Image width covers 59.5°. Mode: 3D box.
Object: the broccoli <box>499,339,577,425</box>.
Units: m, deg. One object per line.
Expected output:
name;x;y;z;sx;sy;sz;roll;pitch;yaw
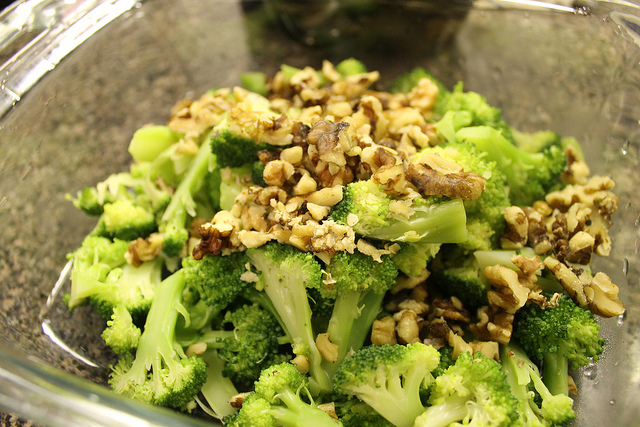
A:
broccoli;0.747;0.621;2.002;0.192;0.121;0.290;-2;61;-27

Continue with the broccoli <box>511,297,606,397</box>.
broccoli;0.853;0.437;2.018;0.323;0.334;0.376;8;79;30

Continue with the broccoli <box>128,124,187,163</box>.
broccoli;-0.684;-0.304;2.371;0.193;0.271;0.054;17;78;-17

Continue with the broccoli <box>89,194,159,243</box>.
broccoli;-0.770;0.022;2.208;0.202;0.084;0.180;-15;65;-8

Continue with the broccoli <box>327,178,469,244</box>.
broccoli;0.295;0.000;1.991;0.383;0.127;0.244;3;65;0

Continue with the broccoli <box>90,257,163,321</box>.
broccoli;-0.752;0.269;2.168;0.280;0.337;0.131;-32;105;-9

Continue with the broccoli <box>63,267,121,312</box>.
broccoli;-0.883;0.310;2.154;0.175;0.179;0.154;41;99;32

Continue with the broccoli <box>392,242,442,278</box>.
broccoli;0.351;0.173;1.985;0.129;0.046;0.135;-7;100;2

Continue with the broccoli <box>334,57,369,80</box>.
broccoli;0.151;-0.700;2.746;0.130;0.078;0.135;4;64;-5

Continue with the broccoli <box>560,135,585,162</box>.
broccoli;1.079;-0.286;2.407;0.062;0.041;0.128;-1;60;-21

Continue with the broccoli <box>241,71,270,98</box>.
broccoli;-0.302;-0.582;2.675;0.114;0.140;0.046;21;106;-24

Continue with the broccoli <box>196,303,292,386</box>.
broccoli;-0.259;0.452;2.088;0.302;0.172;0.231;-28;107;26

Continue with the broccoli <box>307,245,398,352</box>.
broccoli;0.110;0.299;2.010;0.252;0.256;0.311;15;80;38

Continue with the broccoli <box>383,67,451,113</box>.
broccoli;0.462;-0.563;2.530;0.272;0.092;0.216;37;115;37

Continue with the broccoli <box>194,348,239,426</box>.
broccoli;-0.391;0.636;2.104;0.095;0.046;0.315;-26;70;-15

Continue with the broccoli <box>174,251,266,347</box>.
broccoli;-0.423;0.294;2.149;0.384;0.211;0.287;-23;30;24

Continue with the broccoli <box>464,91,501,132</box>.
broccoli;0.695;-0.443;2.402;0.166;0.074;0.114;18;35;29

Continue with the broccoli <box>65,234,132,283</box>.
broccoli;-0.893;0.142;2.181;0.178;0.156;0.081;-29;22;-29

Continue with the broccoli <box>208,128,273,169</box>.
broccoli;-0.306;-0.245;2.110;0.181;0.083;0.149;-6;101;6
